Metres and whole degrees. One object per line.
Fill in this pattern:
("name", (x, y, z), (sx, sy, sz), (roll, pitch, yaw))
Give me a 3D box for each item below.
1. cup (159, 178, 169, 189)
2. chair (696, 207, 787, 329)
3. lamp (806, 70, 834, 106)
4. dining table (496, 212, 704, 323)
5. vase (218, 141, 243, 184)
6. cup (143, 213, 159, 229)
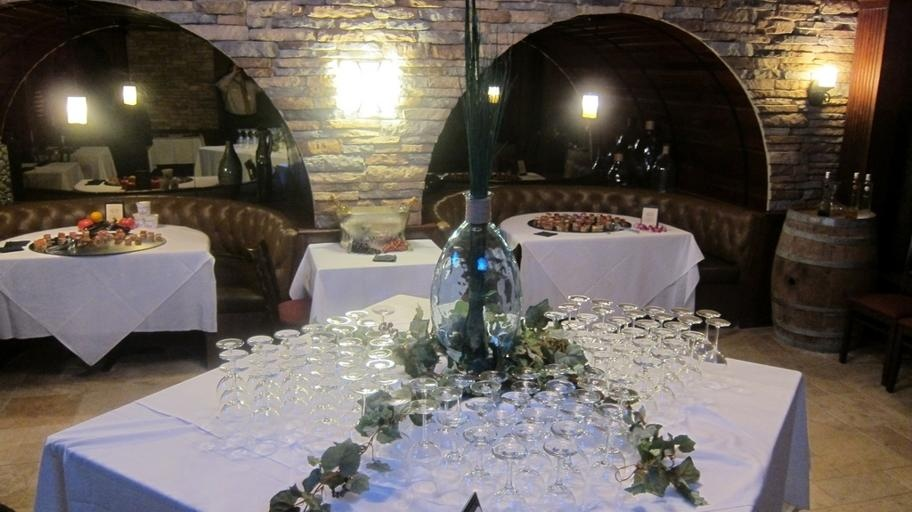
("cup", (-3.655, -0.915, 7.377), (0.138, 0.121, 0.121), (1, 5, 0))
("chair", (3.317, 0.121, 7.162), (1.348, 1.594, 1.321), (3, 6, 14))
("lamp", (4.153, -1.911, 6.620), (0.357, 0.419, 0.130), (-4, 19, -10))
("dining table", (1.646, 0.134, 6.136), (1.257, 0.545, 1.233), (9, 15, 32))
("vase", (-2.973, -1.209, 7.650), (0.297, 0.550, 0.319), (-8, 20, -20))
("cup", (-3.220, -0.370, 6.239), (0.157, 0.139, 0.152), (1, 12, 0))
